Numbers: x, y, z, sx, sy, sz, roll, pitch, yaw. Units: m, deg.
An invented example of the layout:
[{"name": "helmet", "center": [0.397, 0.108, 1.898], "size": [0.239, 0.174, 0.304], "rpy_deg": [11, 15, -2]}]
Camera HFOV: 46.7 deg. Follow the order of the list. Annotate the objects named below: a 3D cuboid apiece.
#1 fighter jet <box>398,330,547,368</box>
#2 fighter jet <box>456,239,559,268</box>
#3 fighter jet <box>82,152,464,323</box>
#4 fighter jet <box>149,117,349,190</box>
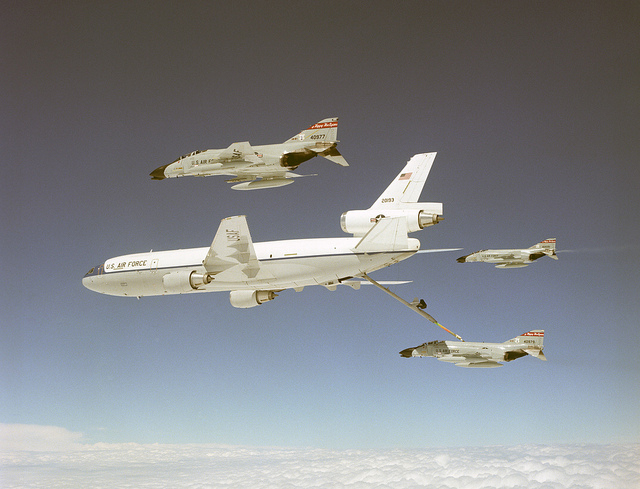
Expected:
[{"name": "fighter jet", "center": [3.996, 2.677, 18.280], "size": [4.030, 0.828, 3.330], "rpy_deg": [-1, -16, 22]}, {"name": "fighter jet", "center": [4.866, 0.272, 18.649], "size": [2.328, 0.574, 0.369], "rpy_deg": [-13, -30, 25]}, {"name": "fighter jet", "center": [-0.933, 0.181, 16.803], "size": [6.877, 1.894, 4.622], "rpy_deg": [-2, -8, 16]}, {"name": "fighter jet", "center": [-1.817, -2.068, 16.982], "size": [4.714, 1.034, 2.656], "rpy_deg": [-4, -8, 21]}]
